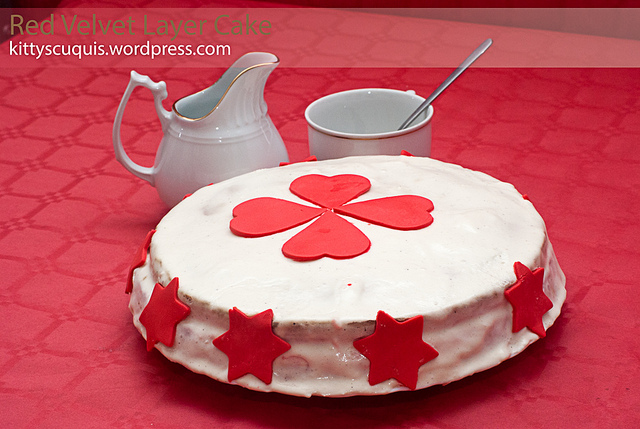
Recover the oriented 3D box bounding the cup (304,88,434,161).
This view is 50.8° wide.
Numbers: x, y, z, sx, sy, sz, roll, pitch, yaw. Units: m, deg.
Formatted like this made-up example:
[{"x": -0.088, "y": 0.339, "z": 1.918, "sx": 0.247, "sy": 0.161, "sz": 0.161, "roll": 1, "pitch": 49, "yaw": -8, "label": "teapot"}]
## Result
[{"x": 0.104, "y": -0.193, "z": 1.398, "sx": 0.226, "sy": 0.094, "sz": 0.176, "roll": -17, "pitch": 28, "yaw": -26, "label": "cup"}]
